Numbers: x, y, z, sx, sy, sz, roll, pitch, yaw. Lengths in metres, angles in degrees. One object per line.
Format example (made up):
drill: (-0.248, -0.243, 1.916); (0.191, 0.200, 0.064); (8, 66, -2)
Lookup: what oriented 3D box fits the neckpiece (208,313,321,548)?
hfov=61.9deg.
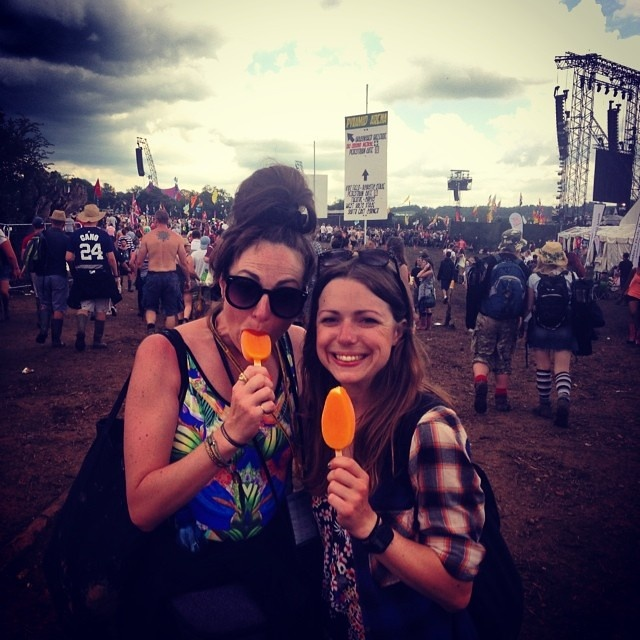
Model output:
neckpiece: (-0.247, 0.262, 2.166); (0.321, 0.745, 0.182); (10, 42, -1)

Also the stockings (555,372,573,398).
stockings: (2.803, 0.753, 6.177); (0.171, 0.286, 0.321); (4, 9, 22)

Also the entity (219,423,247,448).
entity: (-0.288, 0.378, 1.719); (0.083, 0.078, 0.030); (4, 8, 14)

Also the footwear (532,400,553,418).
footwear: (2.758, 1.092, 6.651); (0.235, 0.310, 0.172); (1, 4, 16)

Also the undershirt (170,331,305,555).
undershirt: (-0.391, 0.449, 2.169); (0.402, 0.893, 0.515); (11, -21, -1)

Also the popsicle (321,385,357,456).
popsicle: (0.058, 0.397, 1.854); (0.109, 0.365, 0.046); (4, 23, 16)

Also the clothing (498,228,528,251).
clothing: (2.623, -1.052, 7.281); (0.258, 0.207, 0.387); (6, 22, 32)

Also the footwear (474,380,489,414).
footwear: (1.943, 0.934, 6.487); (0.136, 0.495, 0.193); (1, -2, 4)

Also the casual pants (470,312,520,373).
casual pants: (2.154, 0.262, 6.645); (0.552, 0.977, 0.468); (10, 13, 18)

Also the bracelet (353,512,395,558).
bracelet: (0.163, 0.665, 1.679); (0.061, 0.096, 0.116); (41, -12, -34)
